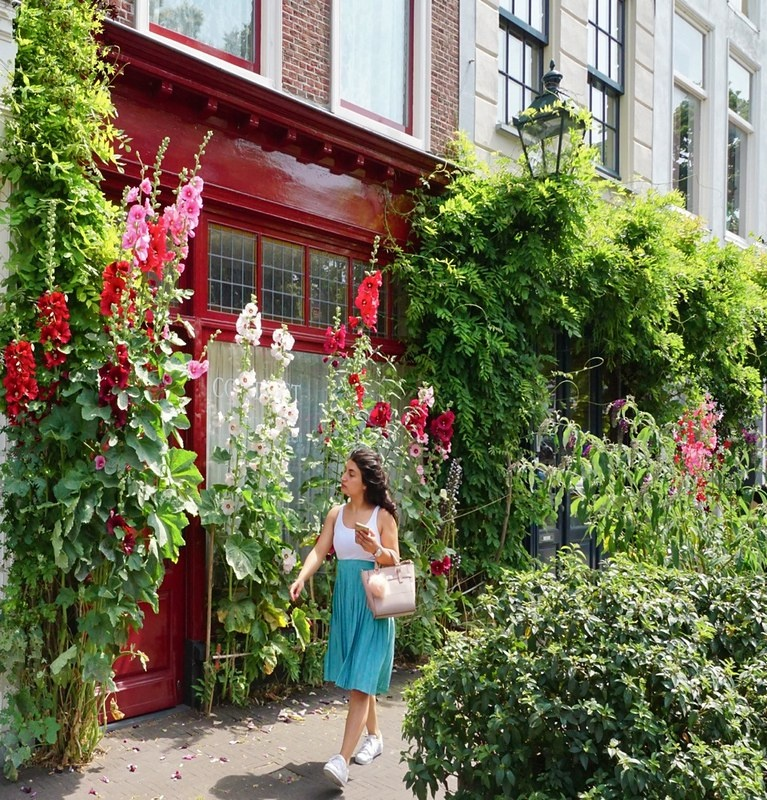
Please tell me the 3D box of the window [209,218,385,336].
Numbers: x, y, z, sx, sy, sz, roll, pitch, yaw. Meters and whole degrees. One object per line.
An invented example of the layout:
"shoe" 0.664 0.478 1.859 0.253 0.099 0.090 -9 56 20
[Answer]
"window" -0.556 -0.786 6.969 0.025 0.722 1.873 -4 -4 33
